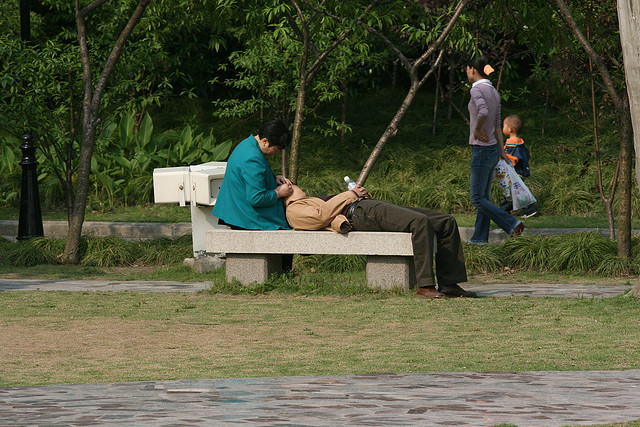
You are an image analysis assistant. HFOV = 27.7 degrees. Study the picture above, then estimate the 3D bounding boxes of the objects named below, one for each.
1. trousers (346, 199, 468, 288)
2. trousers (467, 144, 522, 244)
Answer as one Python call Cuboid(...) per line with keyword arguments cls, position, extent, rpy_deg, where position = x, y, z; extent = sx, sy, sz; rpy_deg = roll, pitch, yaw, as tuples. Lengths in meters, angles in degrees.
Cuboid(cls="trousers", position=(1.289, 0.390, 18.675), extent=(1.495, 1.291, 0.412), rpy_deg=(-2, -2, 14))
Cuboid(cls="trousers", position=(2.750, -0.358, 21.060), extent=(0.737, 1.589, 0.691), rpy_deg=(-2, -2, 6))
